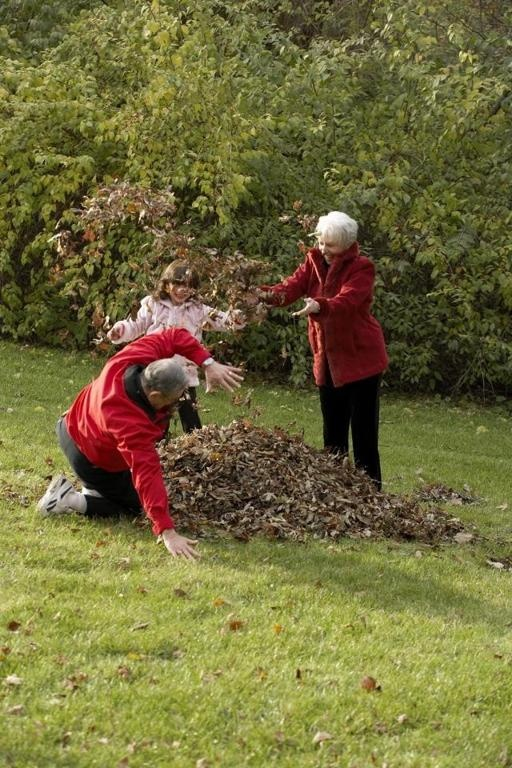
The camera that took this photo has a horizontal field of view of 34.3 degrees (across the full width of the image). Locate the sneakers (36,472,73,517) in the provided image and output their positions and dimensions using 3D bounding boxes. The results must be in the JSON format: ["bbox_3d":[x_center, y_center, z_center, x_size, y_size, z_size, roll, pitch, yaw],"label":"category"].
[{"bbox_3d":[-1.195,0.667,4.994,0.163,0.310,0.136,33,-7,-5],"label":"sneakers"}]

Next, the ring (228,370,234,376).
[{"bbox_3d":[-0.144,-0.063,4.624,0.026,0.006,0.022,19,34,-25],"label":"ring"}]

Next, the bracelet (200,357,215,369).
[{"bbox_3d":[-0.274,-0.115,4.596,0.058,0.045,0.056,-16,-12,-5],"label":"bracelet"}]

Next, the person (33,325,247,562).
[{"bbox_3d":[-0.675,0.289,4.555,0.722,1.207,1.223,6,8,-23],"label":"person"}]
